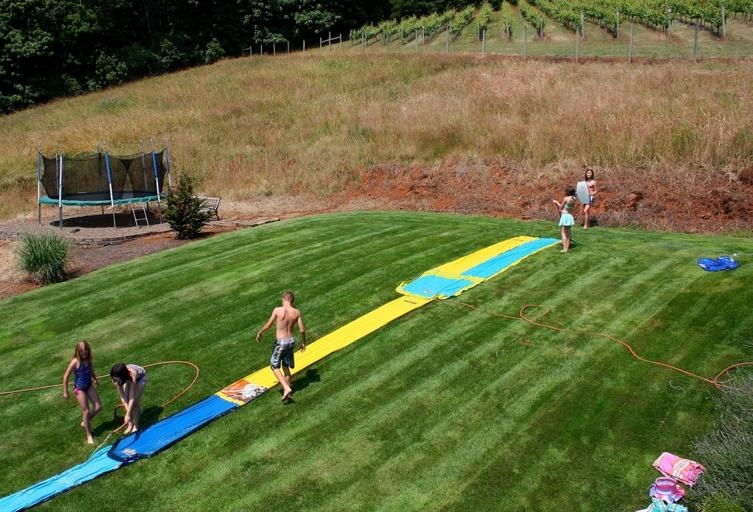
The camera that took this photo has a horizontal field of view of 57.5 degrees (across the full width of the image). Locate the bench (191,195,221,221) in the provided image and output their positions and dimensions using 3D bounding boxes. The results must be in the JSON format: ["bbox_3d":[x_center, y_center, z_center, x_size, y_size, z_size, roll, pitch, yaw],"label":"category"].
[{"bbox_3d":[-7.348,-2.070,29.565,1.472,0.761,0.640,8,15,35],"label":"bench"}]

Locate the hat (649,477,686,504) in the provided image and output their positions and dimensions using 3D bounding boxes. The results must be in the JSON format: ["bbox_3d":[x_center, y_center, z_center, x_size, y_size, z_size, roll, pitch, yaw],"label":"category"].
[{"bbox_3d":[6.152,4.968,14.461,0.676,0.389,0.437,0,16,18],"label":"hat"}]
